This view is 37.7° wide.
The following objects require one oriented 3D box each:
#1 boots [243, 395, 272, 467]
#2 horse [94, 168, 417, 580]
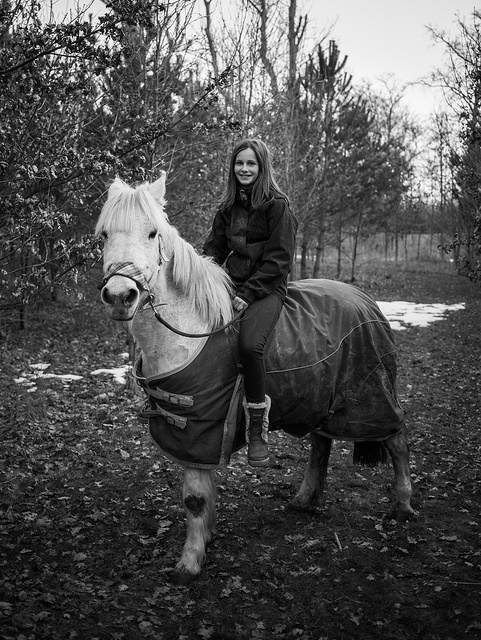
[{"bbox_3d":[0.124,0.720,4.623,0.212,0.461,0.202,-5,12,-18],"label":"boots"},{"bbox_3d":[0.086,0.440,5.046,2.811,2.353,0.969,1,10,-35],"label":"horse"}]
